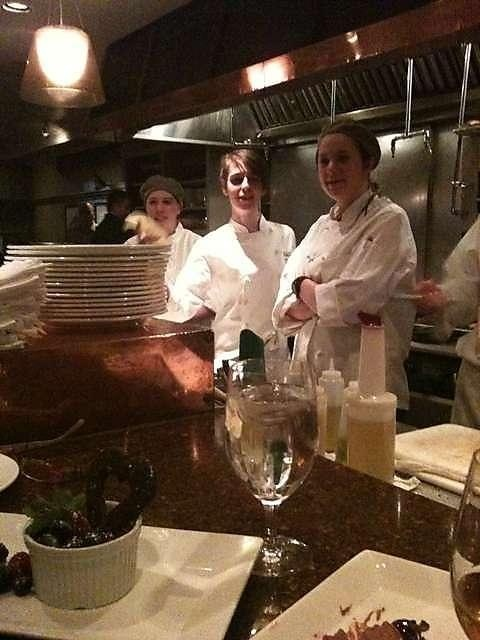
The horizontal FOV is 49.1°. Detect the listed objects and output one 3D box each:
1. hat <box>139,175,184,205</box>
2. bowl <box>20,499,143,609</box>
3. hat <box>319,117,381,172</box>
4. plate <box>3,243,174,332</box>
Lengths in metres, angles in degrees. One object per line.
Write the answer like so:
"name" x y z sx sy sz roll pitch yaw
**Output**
"hat" -0.498 -0.825 3.345 0.261 0.154 0.190 -2 7 -11
"bowl" -0.147 0.231 0.487 0.089 0.052 0.089 -11 -11 -2
"hat" 0.522 -0.772 2.465 0.337 0.131 0.372 -6 -3 14
"plate" -0.311 -0.075 1.051 0.318 0.150 0.150 -1 7 0
